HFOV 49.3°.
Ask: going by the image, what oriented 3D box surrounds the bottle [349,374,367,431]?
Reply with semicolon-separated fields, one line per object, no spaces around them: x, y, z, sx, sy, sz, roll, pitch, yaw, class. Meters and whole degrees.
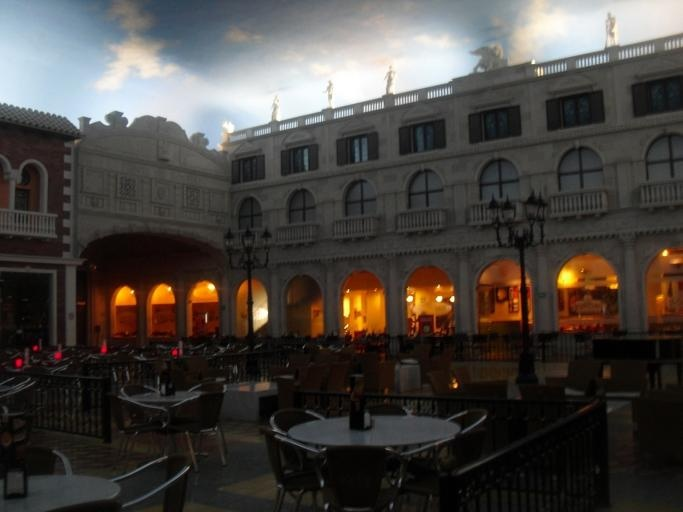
0.193;1.922;9.788;0.206;0.713;0.388;-1;-8;0;bottle
